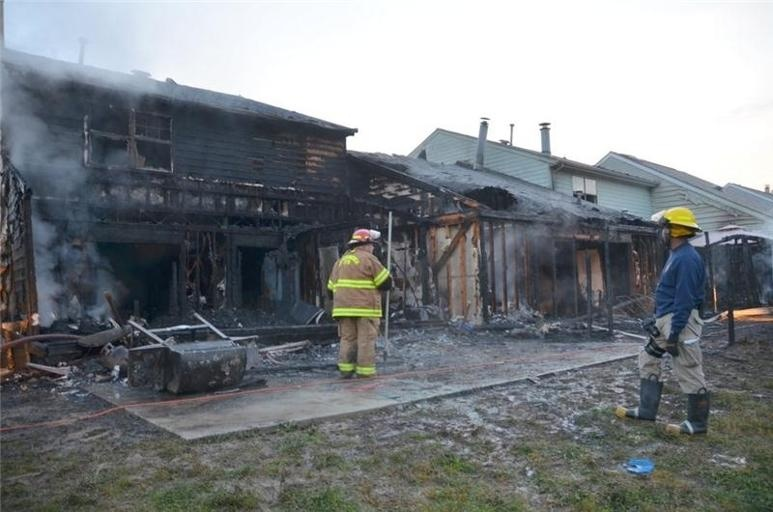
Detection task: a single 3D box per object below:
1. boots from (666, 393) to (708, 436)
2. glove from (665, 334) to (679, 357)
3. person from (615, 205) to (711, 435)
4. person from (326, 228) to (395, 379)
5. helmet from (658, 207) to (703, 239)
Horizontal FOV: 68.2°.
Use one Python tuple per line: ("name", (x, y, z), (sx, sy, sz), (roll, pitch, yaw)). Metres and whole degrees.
("boots", (3.623, 1.844, 6.799), (0.510, 0.485, 0.312), (3, 13, 13))
("glove", (3.428, 1.080, 6.851), (0.159, 0.220, 0.080), (-1, -9, 35))
("person", (3.577, 0.746, 7.001), (0.913, 2.580, 1.127), (6, 14, 25))
("person", (-0.443, 0.808, 9.155), (0.935, 2.302, 1.153), (-1, 13, -6))
("helmet", (3.685, -0.435, 7.202), (0.411, 0.343, 0.434), (-3, 8, -45))
